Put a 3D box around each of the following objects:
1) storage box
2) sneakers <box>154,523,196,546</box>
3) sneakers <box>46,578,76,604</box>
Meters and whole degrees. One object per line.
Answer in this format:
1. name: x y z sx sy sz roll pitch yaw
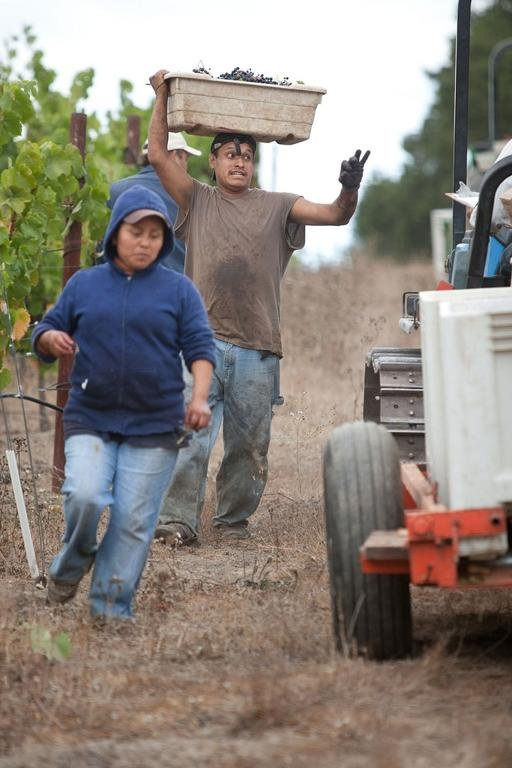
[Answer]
1. storage box: -0.076 -1.384 5.309 0.781 0.302 0.310 -2 5 -18
2. sneakers: -0.419 0.799 5.496 0.084 0.098 0.230 -2 -26 28
3. sneakers: -0.726 0.777 3.943 0.117 0.116 0.075 -1 30 -10
